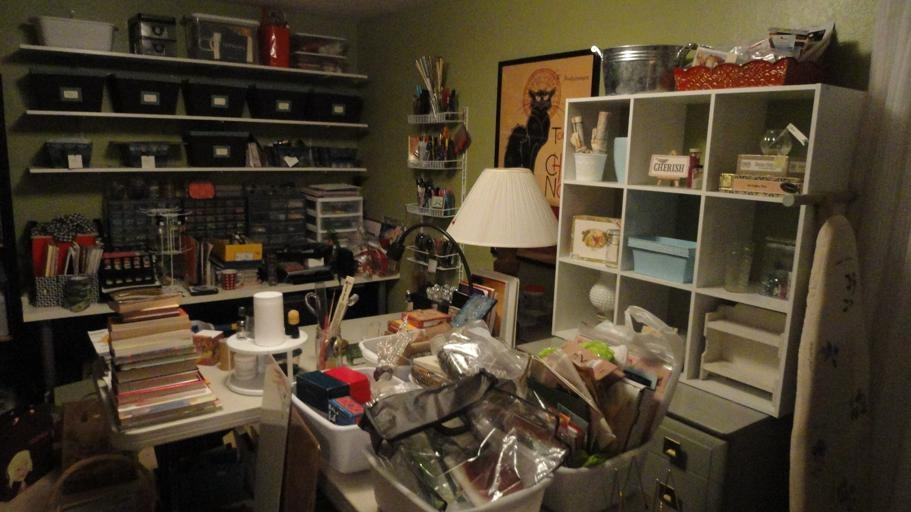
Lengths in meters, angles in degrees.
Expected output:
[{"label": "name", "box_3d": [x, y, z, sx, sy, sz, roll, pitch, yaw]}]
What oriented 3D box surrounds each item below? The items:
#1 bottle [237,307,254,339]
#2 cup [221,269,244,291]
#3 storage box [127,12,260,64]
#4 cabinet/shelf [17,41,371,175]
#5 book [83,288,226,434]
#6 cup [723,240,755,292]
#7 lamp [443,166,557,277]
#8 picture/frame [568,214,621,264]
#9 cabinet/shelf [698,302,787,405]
[{"label": "bottle", "box_3d": [-1.195, 0.381, 3.358, 0.076, 0.152, 0.119, -10, 13, -31]}, {"label": "cup", "box_3d": [-1.965, 0.214, 5.165, 0.198, 0.131, 0.127, 4, -4, -41]}, {"label": "storage box", "box_3d": [-2.300, -1.908, 5.257, 1.057, 0.416, 0.331, -7, 12, -24]}, {"label": "cabinet/shelf", "box_3d": [-2.478, -1.254, 5.885, 3.284, 0.809, 0.340, 0, 7, -7]}, {"label": "book", "box_3d": [-1.723, 0.520, 3.476, 0.722, 0.776, 0.800, -3, 11, -31]}, {"label": "cup", "box_3d": [1.616, 0.066, 3.393, 0.134, 0.283, 0.105, 1, 12, 22]}, {"label": "lamp", "box_3d": [0.316, -0.177, 3.898, 0.801, 0.797, 0.775, 4, 19, 10]}, {"label": "picture/frame", "box_3d": [0.882, -0.103, 3.798, 0.387, 0.292, 0.043, 5, -1, -27]}, {"label": "cabinet/shelf", "box_3d": [1.643, 0.526, 3.347, 0.426, 0.432, 0.270, 12, 16, 36]}]
